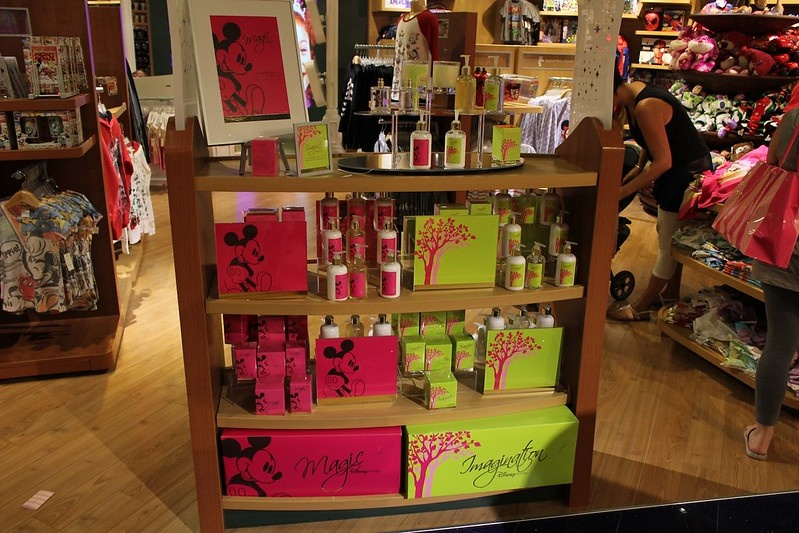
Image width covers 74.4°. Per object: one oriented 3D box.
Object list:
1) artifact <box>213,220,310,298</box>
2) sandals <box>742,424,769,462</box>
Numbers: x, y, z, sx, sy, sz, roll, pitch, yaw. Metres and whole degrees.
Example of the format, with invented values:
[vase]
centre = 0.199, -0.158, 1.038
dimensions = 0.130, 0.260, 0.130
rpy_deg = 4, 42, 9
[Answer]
[artifact]
centre = -0.678, -0.025, 2.566
dimensions = 0.439, 0.371, 0.154
rpy_deg = -1, 0, -30
[sandals]
centre = 2.155, 1.084, 3.187
dimensions = 0.083, 0.067, 0.222
rpy_deg = -4, 46, 16
